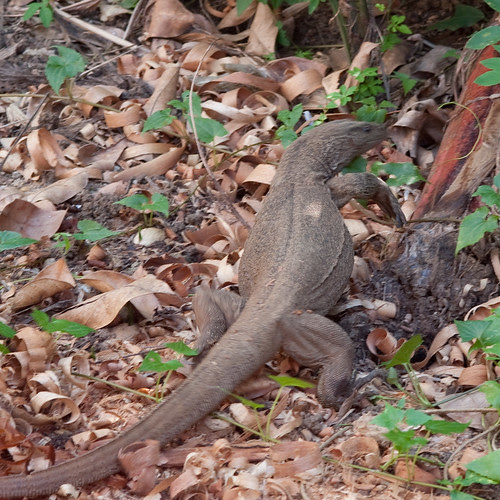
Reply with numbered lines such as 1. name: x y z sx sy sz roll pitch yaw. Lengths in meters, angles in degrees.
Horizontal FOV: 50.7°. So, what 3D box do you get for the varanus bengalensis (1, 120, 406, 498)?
1. varanus bengalensis: 0.236 0.189 3.467 1.304 0.743 2.723 19 59 44
